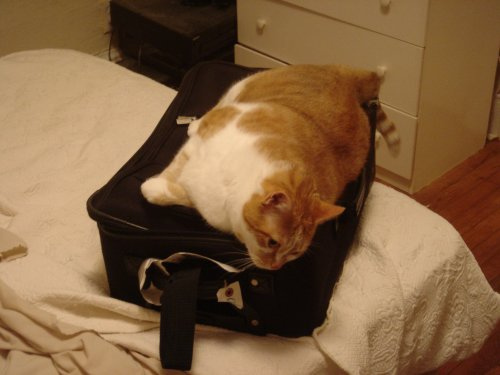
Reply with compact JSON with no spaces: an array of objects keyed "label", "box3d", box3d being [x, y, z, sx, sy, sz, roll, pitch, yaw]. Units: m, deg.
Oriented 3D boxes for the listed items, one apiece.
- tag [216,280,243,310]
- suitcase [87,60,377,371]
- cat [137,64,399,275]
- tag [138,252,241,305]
[{"label":"tag","box3d":[-0.054,0.289,1.614,0.073,0.079,0.038,4,45,-3]},{"label":"suitcase","box3d":[-0.107,0.163,1.827,0.578,0.315,0.927,12,51,12]},{"label":"cat","box3d":[0.082,-0.107,1.677,0.500,0.275,0.682,31,71,-15]},{"label":"tag","box3d":[-0.193,0.218,1.626,0.199,0.099,0.163,-11,39,-19]}]
